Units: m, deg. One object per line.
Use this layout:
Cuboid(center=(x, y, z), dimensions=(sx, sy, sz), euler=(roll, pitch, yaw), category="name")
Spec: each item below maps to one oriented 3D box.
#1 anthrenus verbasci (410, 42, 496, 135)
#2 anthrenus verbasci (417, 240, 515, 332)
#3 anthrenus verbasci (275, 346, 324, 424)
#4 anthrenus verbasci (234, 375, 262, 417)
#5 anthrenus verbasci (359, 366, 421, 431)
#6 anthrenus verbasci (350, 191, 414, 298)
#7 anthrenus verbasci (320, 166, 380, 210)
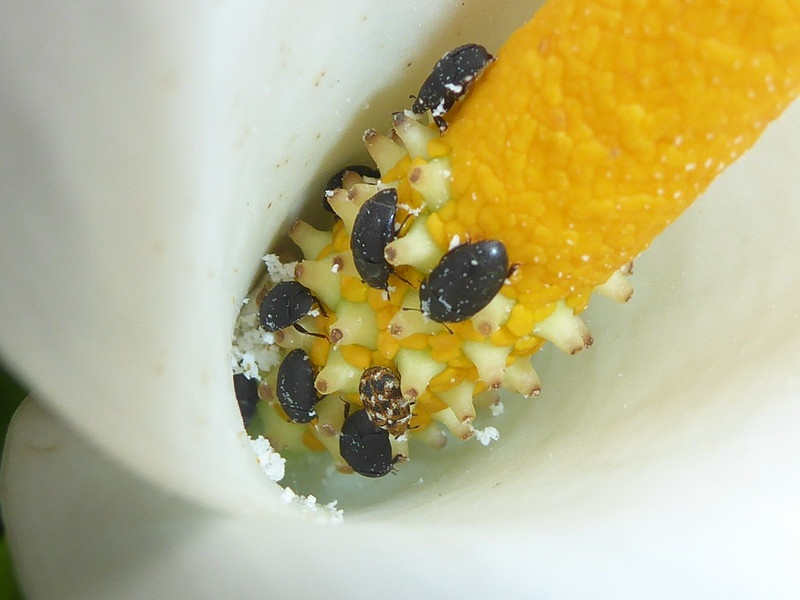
Cuboid(center=(0.054, -0.216, 0.940), dimensions=(0.091, 0.027, 0.073), euler=(-46, -129, 34), category="anthrenus verbasci")
Cuboid(center=(0.062, -0.018, 0.855), dimensions=(0.069, 0.027, 0.086), euler=(41, -65, -15), category="anthrenus verbasci")
Cuboid(center=(-0.114, 0.095, 1.009), dimensions=(0.080, 0.026, 0.081), euler=(-6, -88, 27), category="anthrenus verbasci")
Cuboid(center=(-0.191, 0.112, 1.086), dimensions=(0.012, 0.038, 0.048), euler=(13, -96, 27), category="anthrenus verbasci")
Cuboid(center=(-0.012, 0.109, 0.966), dimensions=(0.051, 0.022, 0.073), euler=(-25, -72, 24), category="anthrenus verbasci")
Cuboid(center=(-0.025, -0.068, 0.914), dimensions=(0.029, 0.094, 0.091), euler=(-39, -105, 11), category="anthrenus verbasci")
Cuboid(center=(-0.049, -0.146, 1.084), dimensions=(0.071, 0.077, 0.028), euler=(4, -91, 6), category="anthrenus verbasci")
